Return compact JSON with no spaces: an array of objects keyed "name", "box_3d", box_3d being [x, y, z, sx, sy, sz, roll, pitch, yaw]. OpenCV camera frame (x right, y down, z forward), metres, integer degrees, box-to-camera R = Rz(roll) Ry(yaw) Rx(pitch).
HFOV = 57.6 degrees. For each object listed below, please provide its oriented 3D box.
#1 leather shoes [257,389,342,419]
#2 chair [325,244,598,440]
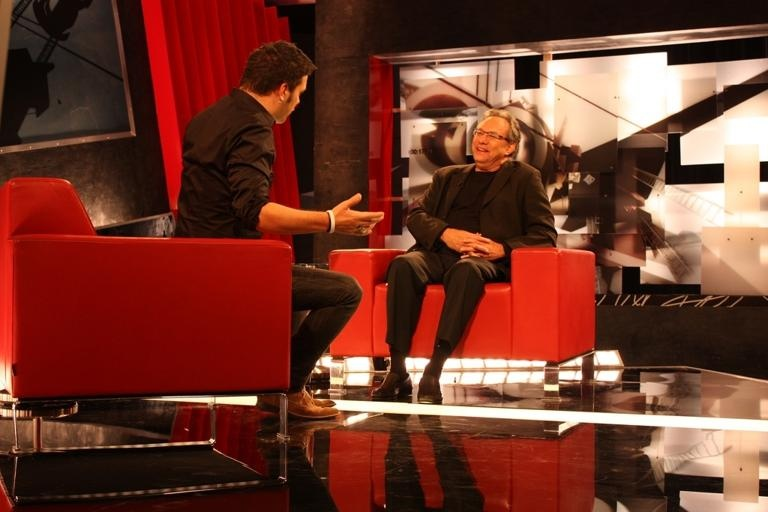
[{"name":"leather shoes","box_3d":[-0.403,0.693,3.291,0.314,0.122,0.195,4,-1,-11]},{"name":"chair","box_3d":[0.489,0.405,4.209,1.390,0.847,0.835,-1,-3,27]}]
